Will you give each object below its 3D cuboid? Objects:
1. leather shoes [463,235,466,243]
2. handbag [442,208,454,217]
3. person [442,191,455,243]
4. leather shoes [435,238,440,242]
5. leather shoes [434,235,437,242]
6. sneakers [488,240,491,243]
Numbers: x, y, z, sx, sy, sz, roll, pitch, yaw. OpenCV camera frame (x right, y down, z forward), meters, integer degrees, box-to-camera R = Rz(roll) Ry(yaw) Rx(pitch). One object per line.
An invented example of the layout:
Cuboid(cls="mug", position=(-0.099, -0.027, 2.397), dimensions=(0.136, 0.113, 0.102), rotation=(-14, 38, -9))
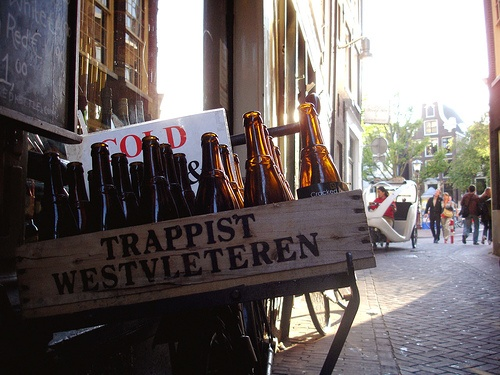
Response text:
Cuboid(cls="leather shoes", position=(6.331, 1.509, 14.605), dimensions=(0.075, 0.257, 0.102), rotation=(-4, -9, 24))
Cuboid(cls="handbag", position=(6.175, 0.778, 15.359), dimensions=(0.243, 0.234, 0.384), rotation=(4, -2, 33))
Cuboid(cls="person", position=(6.338, 0.968, 15.865), dimensions=(0.359, 1.584, 1.408), rotation=(0, -1, 22))
Cuboid(cls="leather shoes", position=(5.933, 1.680, 15.677), dimensions=(0.101, 0.120, 0.110), rotation=(-7, -30, 18))
Cuboid(cls="leather shoes", position=(5.863, 1.637, 15.692), dimensions=(0.124, 0.142, 0.062), rotation=(24, -8, -34))
Cuboid(cls="sneakers", position=(6.982, 1.605, 14.417), dimensions=(0.067, 0.071, 0.162), rotation=(9, 15, 30))
